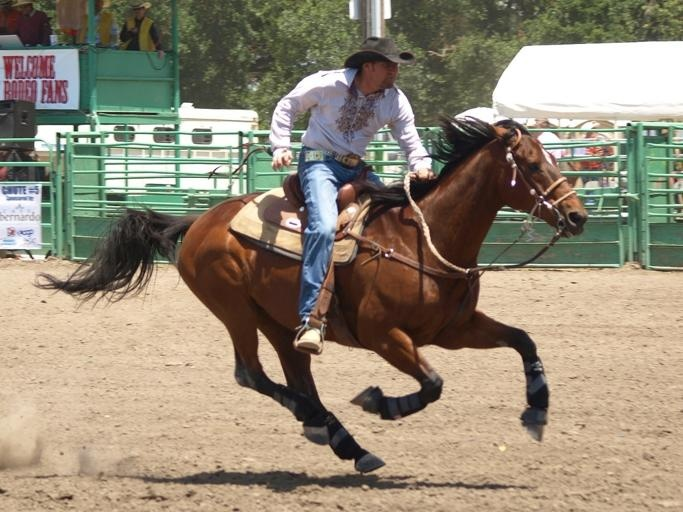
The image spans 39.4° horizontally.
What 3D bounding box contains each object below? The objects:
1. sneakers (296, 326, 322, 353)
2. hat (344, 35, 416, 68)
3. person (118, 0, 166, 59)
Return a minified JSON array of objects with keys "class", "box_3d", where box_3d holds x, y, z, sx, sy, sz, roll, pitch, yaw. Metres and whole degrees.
[{"class":"sneakers","box_3d":[-0.256,0.661,7.260,0.217,0.219,0.156,2,8,7]},{"class":"hat","box_3d":[0.291,-1.601,7.351,0.463,0.108,0.309,-3,-1,16]},{"class":"person","box_3d":[-3.798,-4.359,18.014,0.778,1.010,0.604,-1,8,-11]}]
